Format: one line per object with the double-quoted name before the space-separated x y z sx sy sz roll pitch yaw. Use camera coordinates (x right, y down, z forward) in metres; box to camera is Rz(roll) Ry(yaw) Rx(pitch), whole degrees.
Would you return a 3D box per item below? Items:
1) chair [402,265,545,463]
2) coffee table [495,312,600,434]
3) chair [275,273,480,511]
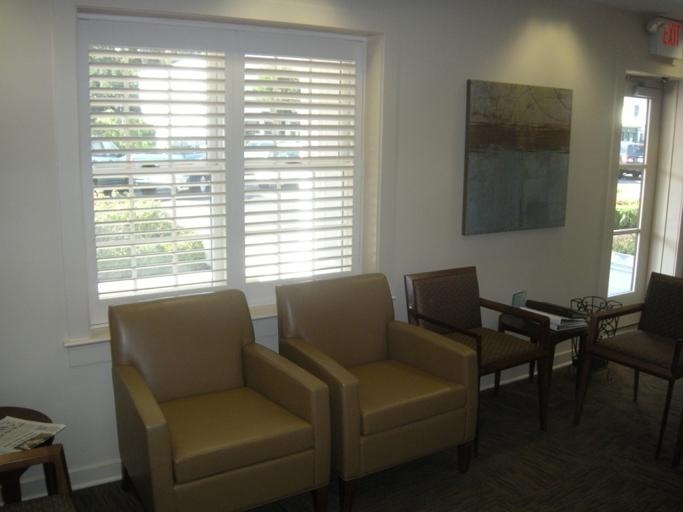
"chair" 0.872 0.647 4.089 1.035 1.515 1.080 -6 10 -32
"coffee table" 1.545 0.713 4.021 0.679 0.877 0.575 -1 6 -36
"chair" 0.176 0.674 3.657 1.220 1.375 1.242 -6 11 -30
